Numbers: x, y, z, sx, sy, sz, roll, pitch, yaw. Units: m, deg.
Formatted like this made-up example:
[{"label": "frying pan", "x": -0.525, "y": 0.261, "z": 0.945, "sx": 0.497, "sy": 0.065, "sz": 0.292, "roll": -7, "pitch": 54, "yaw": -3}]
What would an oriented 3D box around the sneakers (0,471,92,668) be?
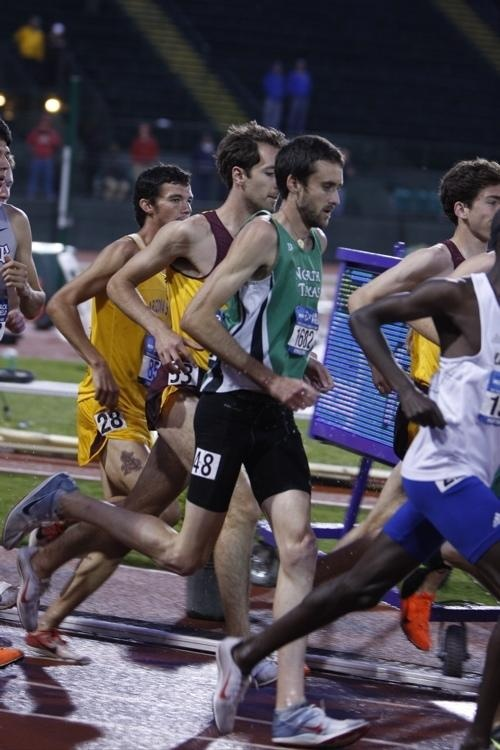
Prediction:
[{"label": "sneakers", "x": -0.743, "y": 0.653, "z": 2.674, "sx": 0.322, "sy": 0.586, "sz": 0.212, "roll": 10, "pitch": 14, "yaw": 23}]
